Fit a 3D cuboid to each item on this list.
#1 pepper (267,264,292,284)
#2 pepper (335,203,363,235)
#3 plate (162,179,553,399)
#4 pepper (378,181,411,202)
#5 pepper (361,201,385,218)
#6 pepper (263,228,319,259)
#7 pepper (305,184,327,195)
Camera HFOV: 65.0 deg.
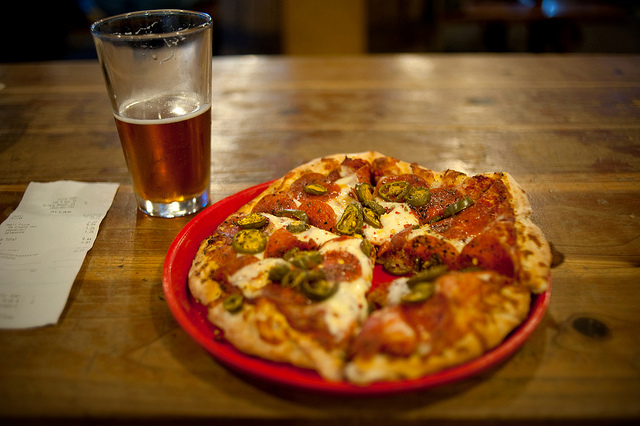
[{"bbox_3d":[-0.110,0.156,1.322,0.052,0.050,0.019,1,38,-8],"label":"pepper"},{"bbox_3d":[0.098,0.020,1.511,0.078,0.027,0.114,16,60,18],"label":"pepper"},{"bbox_3d":[0.013,0.249,1.405,1.042,0.151,0.555,19,42,20],"label":"plate"},{"bbox_3d":[0.235,-0.078,1.600,0.088,0.022,0.062,-24,39,-24],"label":"pepper"},{"bbox_3d":[0.166,-0.014,1.565,0.054,0.021,0.040,28,16,19],"label":"pepper"},{"bbox_3d":[-0.095,0.087,1.476,0.171,0.063,0.131,0,6,-30],"label":"pepper"},{"bbox_3d":[-0.014,-0.077,1.591,0.052,0.011,0.032,11,39,-3],"label":"pepper"}]
